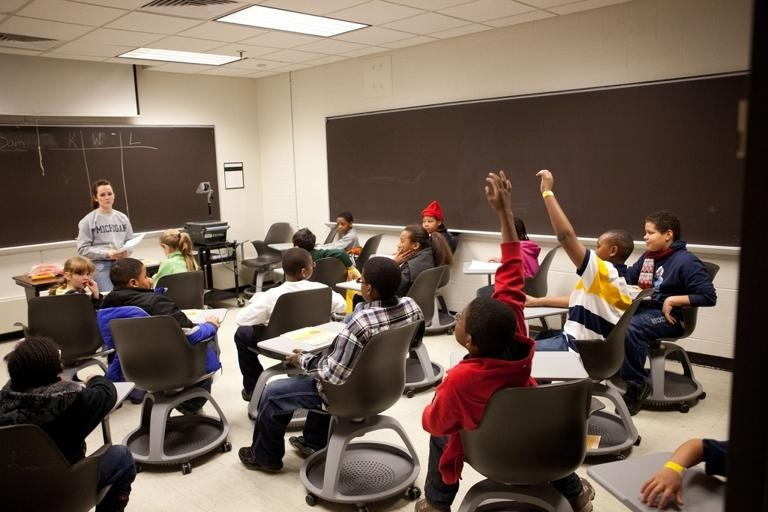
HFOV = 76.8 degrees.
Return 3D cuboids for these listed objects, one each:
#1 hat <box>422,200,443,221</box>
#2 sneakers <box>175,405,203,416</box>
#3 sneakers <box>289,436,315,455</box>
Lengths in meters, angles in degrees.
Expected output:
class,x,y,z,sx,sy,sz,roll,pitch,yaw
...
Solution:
class,x,y,z,sx,sy,sz,roll,pitch,yaw
hat,0.571,-0.516,5.661,0.267,0.233,0.209,8,1,-42
sneakers,-1.550,1.244,3.854,0.142,0.054,0.115,-1,2,5
sneakers,-0.562,1.318,3.350,0.186,0.080,0.065,29,22,34
